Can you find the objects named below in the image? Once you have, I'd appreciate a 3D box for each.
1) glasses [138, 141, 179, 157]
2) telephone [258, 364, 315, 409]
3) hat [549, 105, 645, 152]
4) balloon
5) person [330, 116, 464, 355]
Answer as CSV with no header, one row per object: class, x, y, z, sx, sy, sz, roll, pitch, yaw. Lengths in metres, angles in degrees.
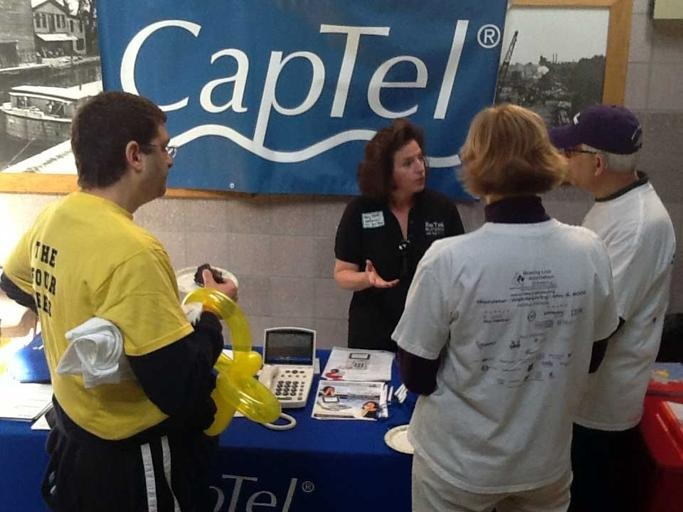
glasses,-0.612,-0.361,2.220,0.108,0.034,0.113,3,6,17
telephone,-0.224,0.523,2.759,0.209,0.093,0.279,-1,16,5
hat,0.981,-0.496,2.607,0.334,0.176,0.229,8,22,28
balloon,-0.522,0.330,2.531,0.514,0.325,0.201,-20,14,40
person,0.296,0.076,3.143,0.606,1.359,0.652,-6,18,-16
